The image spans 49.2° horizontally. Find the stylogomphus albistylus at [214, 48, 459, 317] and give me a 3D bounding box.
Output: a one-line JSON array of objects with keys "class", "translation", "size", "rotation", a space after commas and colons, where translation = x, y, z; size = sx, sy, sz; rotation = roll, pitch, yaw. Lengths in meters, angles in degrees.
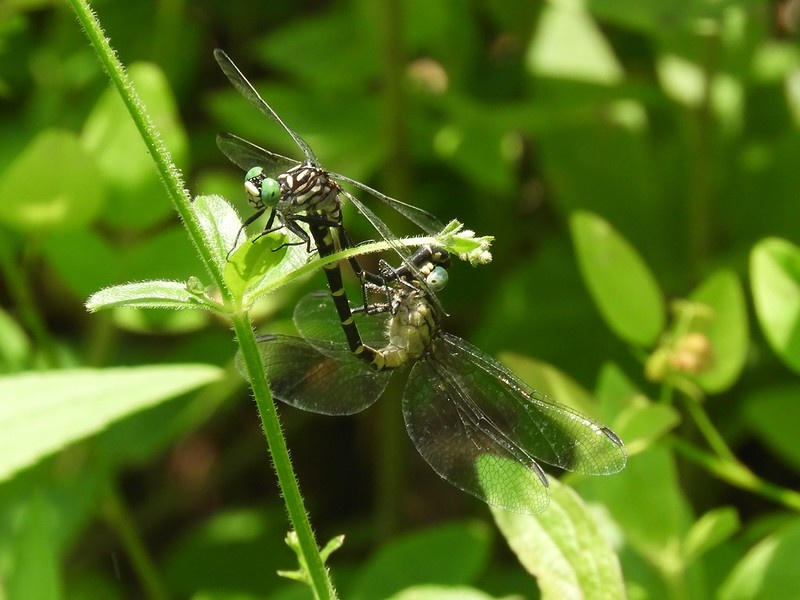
[{"class": "stylogomphus albistylus", "translation": [-0.122, -0.174, 1.429], "size": [0.279, 0.426, 0.234], "rotation": [7, 82, 11]}]
